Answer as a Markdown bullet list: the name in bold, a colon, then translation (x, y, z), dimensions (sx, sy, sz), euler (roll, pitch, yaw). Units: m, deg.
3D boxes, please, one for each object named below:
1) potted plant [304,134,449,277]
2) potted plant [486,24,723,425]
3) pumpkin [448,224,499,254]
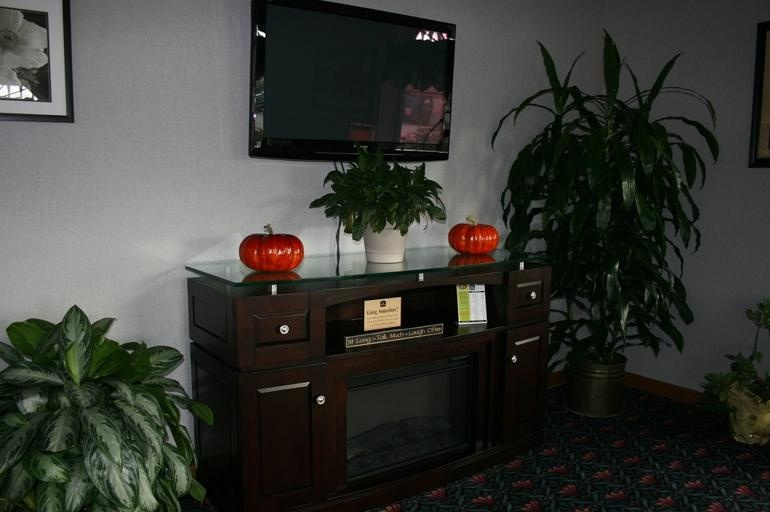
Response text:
- **potted plant**: translation (0.010, -0.272, 3.100), dimensions (0.636, 0.615, 0.716), euler (5, 21, 27)
- **potted plant**: translation (1.449, -0.229, 3.539), dimensions (1.153, 2.083, 1.097), euler (2, -6, 34)
- **pumpkin**: translation (0.521, -0.097, 3.166), dimensions (0.198, 0.160, 0.213), euler (0, 11, 8)
